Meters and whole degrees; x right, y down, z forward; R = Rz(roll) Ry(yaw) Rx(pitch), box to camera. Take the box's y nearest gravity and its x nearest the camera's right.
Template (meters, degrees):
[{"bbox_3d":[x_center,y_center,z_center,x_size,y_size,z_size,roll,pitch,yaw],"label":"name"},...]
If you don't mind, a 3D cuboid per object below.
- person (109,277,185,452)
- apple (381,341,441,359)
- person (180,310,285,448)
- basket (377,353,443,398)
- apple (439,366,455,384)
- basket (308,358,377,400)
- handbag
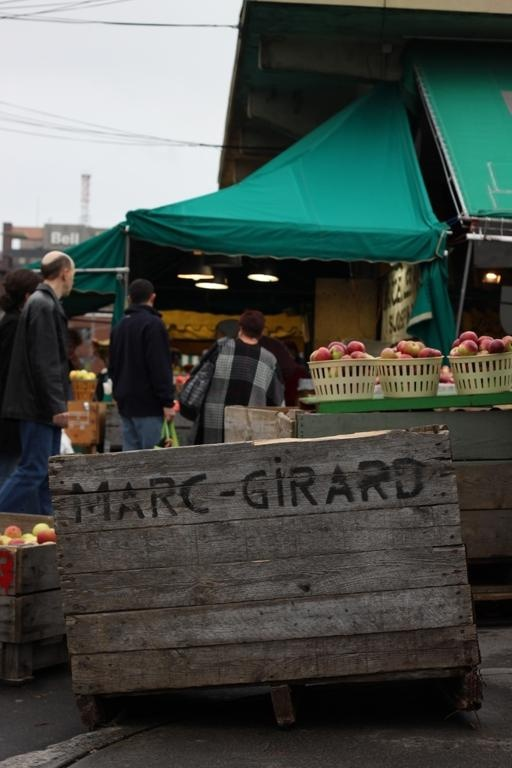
[{"bbox_3d":[-0.731,-0.020,6.991,0.479,0.851,0.237,5,10,34],"label":"person"},{"bbox_3d":[0.759,-0.164,5.417,0.159,0.064,0.160,1,0,22],"label":"apple"},{"bbox_3d":[-0.125,0.146,7.206,0.676,1.185,0.372,13,-22,-11],"label":"person"},{"bbox_3d":[0.740,-0.028,5.301,0.249,0.137,0.225,2,-4,-42],"label":"basket"},{"bbox_3d":[1.055,-0.045,6.065,0.075,0.095,0.057,-18,-47,18],"label":"apple"},{"bbox_3d":[0.447,-0.035,5.304,0.237,0.127,0.253,-2,1,-41],"label":"basket"},{"bbox_3d":[-0.344,-0.032,7.187,0.187,0.473,0.360,23,-9,34],"label":"handbag"}]
